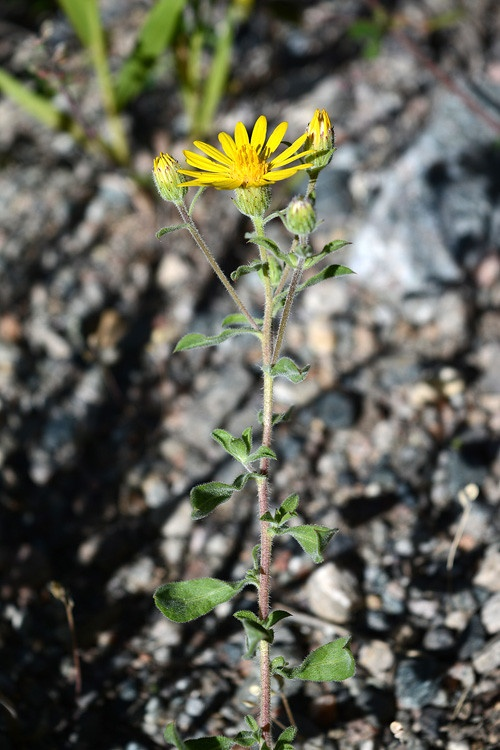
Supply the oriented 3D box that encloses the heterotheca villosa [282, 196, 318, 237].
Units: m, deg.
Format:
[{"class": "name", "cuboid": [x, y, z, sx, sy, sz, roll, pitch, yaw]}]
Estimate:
[{"class": "heterotheca villosa", "cuboid": [0.079, -0.247, 1.205, 0.058, 0.073, 0.056, 7, 49, 10]}]
